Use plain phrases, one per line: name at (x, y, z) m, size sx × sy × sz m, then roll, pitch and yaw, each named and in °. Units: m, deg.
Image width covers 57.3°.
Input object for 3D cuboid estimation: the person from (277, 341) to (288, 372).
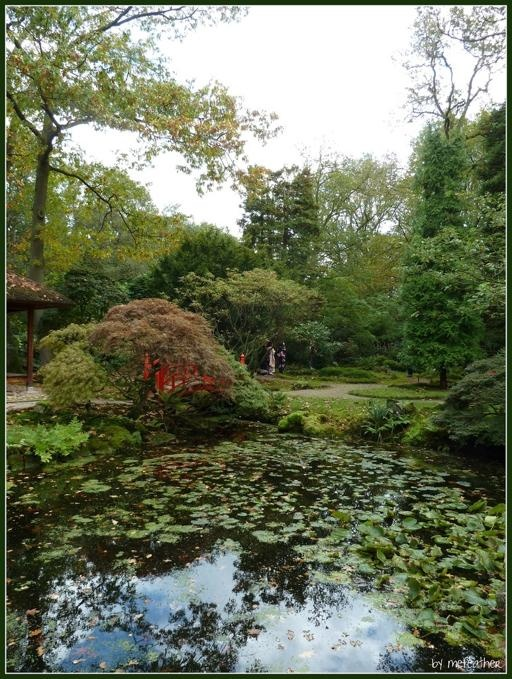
person at (0.981, 0.745, 19.053) m, size 0.373 × 1.219 × 1.086 m, roll 1°, pitch 5°, yaw 0°
